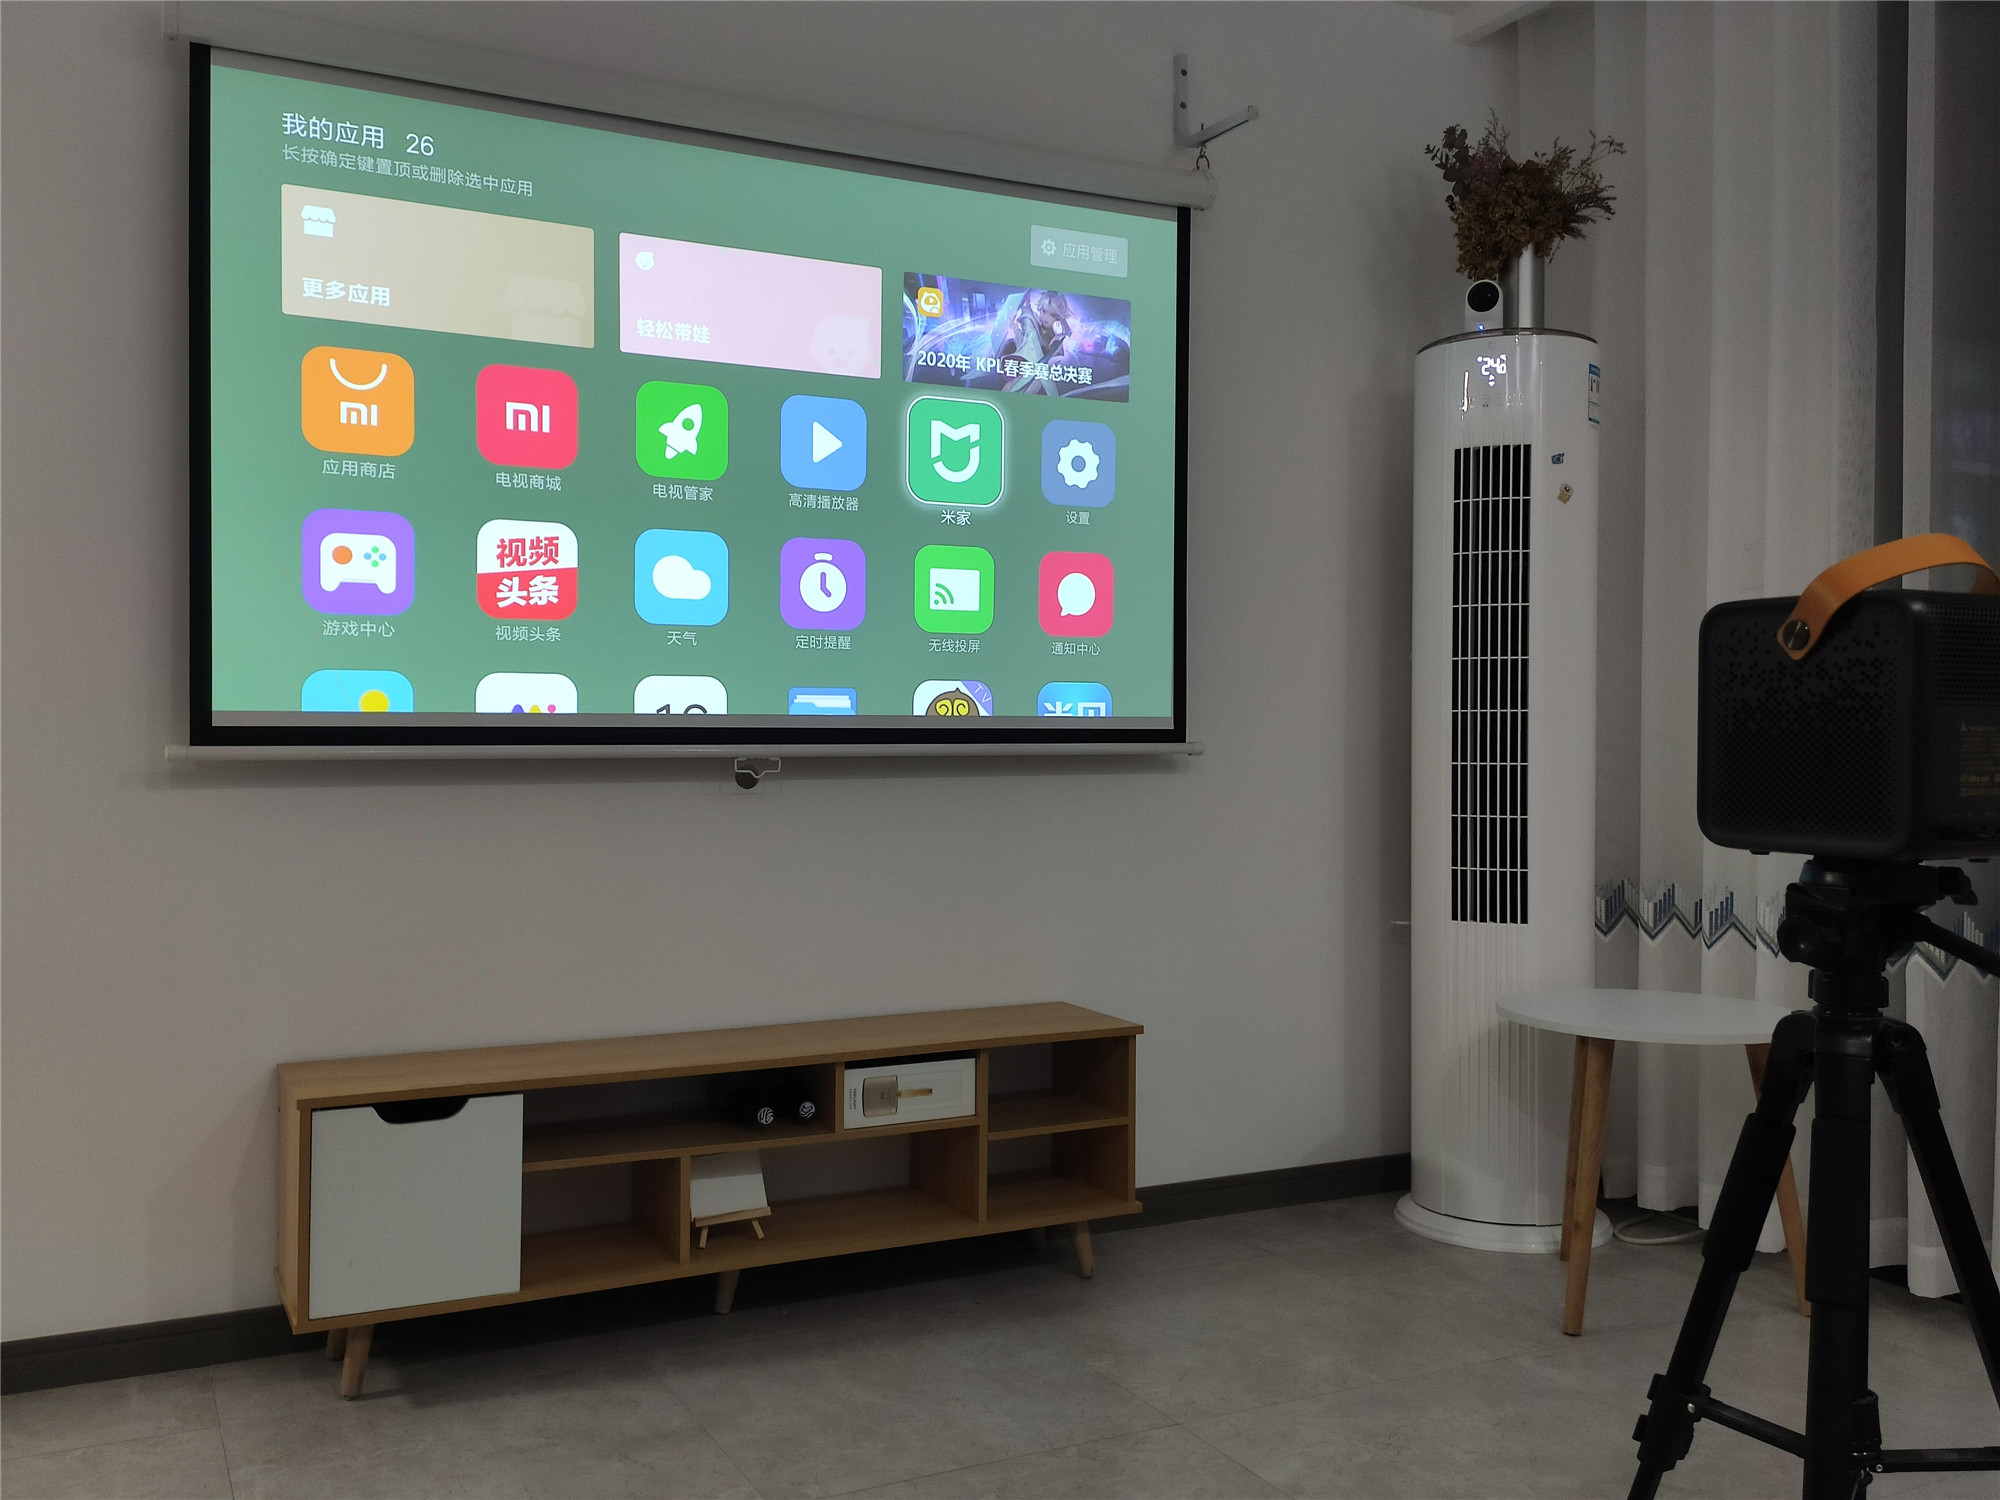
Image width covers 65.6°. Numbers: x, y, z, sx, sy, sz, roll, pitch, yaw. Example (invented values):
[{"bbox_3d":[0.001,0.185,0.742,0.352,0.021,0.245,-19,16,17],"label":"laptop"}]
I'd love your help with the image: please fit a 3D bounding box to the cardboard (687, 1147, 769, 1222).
[{"bbox_3d":[-0.568,0.898,3.209,0.138,0.147,0.038,-4,-21,-18],"label":"cardboard"}]
